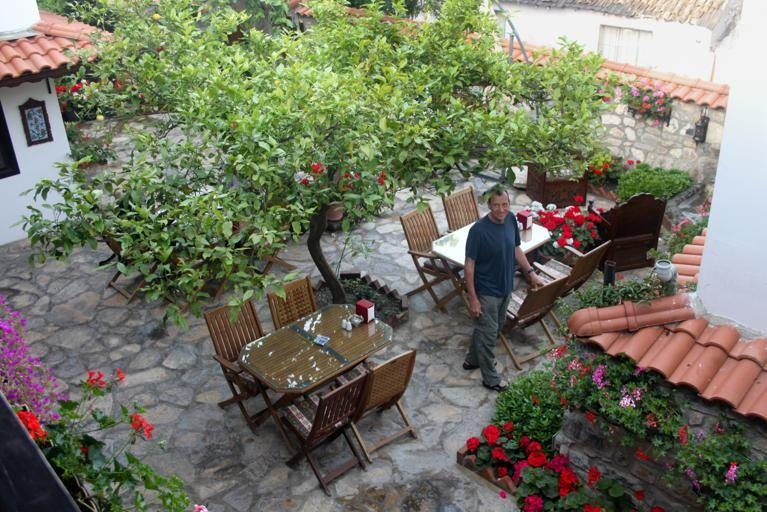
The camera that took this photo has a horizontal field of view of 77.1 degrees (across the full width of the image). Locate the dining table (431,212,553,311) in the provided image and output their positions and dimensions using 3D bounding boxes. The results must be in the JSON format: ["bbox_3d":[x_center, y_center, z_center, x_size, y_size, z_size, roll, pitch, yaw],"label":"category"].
[{"bbox_3d":[1.267,0.057,7.156,1.296,0.294,0.801,-33,48,-30],"label":"dining table"}]

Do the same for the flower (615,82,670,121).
[{"bbox_3d":[5.347,-3.130,9.875,0.889,0.737,0.300,18,10,23],"label":"flower"}]

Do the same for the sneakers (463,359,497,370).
[{"bbox_3d":[1.240,1.401,6.203,0.383,0.131,0.121,-8,39,-8],"label":"sneakers"}]

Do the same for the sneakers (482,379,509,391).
[{"bbox_3d":[1.407,1.638,6.076,0.280,0.070,0.115,4,32,18],"label":"sneakers"}]

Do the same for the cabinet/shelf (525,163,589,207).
[{"bbox_3d":[3.029,-1.215,8.404,0.935,0.542,0.890,3,24,0],"label":"cabinet/shelf"}]

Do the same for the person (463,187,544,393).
[{"bbox_3d":[1.371,0.331,5.896,0.874,2.580,1.043,15,34,16],"label":"person"}]

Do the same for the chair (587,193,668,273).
[{"bbox_3d":[3.941,-0.386,7.668,0.921,1.212,0.447,-3,33,-13],"label":"chair"}]

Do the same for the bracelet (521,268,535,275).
[{"bbox_3d":[1.894,0.178,6.290,0.151,0.131,0.089,3,70,-1],"label":"bracelet"}]
